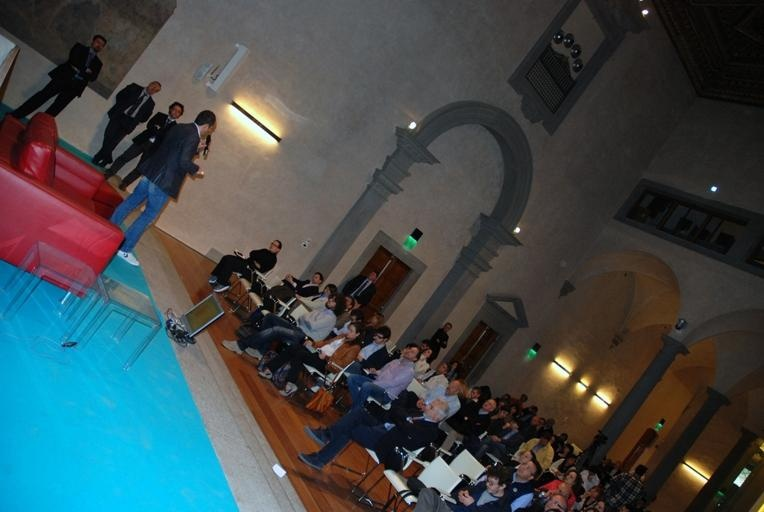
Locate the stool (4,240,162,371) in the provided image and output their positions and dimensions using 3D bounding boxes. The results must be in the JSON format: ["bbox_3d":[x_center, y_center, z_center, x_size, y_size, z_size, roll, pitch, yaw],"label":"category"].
[{"bbox_3d":[-3.707,0.642,6.296,1.321,0.665,0.716,39,5,-8],"label":"stool"}]

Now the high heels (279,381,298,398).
[{"bbox_3d":[-1.423,2.025,7.855,0.138,0.159,0.308,-1,-9,12],"label":"high heels"}]

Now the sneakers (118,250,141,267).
[{"bbox_3d":[-3.800,0.029,7.755,0.333,0.145,0.126,37,-2,-33],"label":"sneakers"}]

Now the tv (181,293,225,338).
[{"bbox_3d":[-2.650,0.879,7.576,0.430,0.552,0.058,47,-10,17],"label":"tv"}]

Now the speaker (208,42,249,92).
[{"bbox_3d":[-3.090,-3.765,10.365,0.295,1.194,0.322,35,-6,-27],"label":"speaker"}]

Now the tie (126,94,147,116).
[{"bbox_3d":[-4.729,-2.886,10.011,0.285,0.424,0.119,33,-10,15],"label":"tie"}]
